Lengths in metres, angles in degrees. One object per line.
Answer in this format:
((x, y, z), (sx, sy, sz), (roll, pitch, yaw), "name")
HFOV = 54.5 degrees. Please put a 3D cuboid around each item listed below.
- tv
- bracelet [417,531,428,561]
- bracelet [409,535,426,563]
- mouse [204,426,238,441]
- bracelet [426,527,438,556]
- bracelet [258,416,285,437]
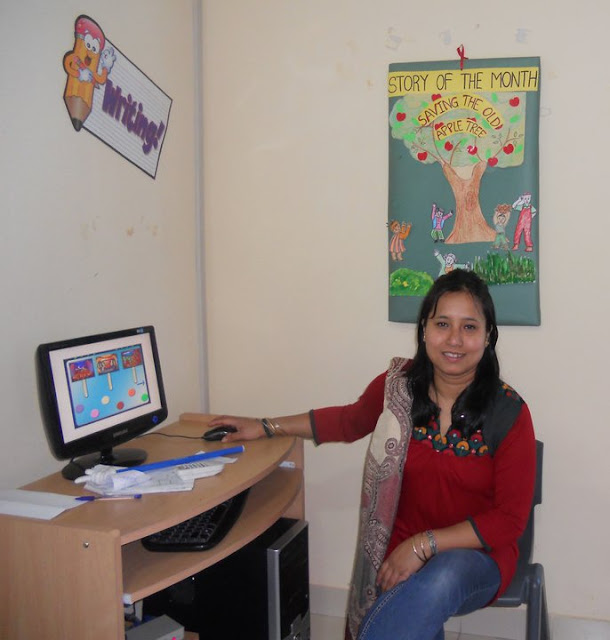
((-0.532, 0.210, 1.571), (0.172, 0.354, 0.363), (-4, 3, 29), "tv")
((0.275, 0.523, 1.358), (0.026, 0.053, 0.024), (0, 3, 4), "bracelet")
((0.262, 0.523, 1.353), (0.038, 0.053, 0.021), (-7, -10, 4), "bracelet")
((-0.263, 0.325, 1.758), (0.072, 0.030, 0.042), (-13, 11, -7), "mouse")
((0.290, 0.509, 1.353), (0.013, 0.038, 0.028), (1, -6, -5), "bracelet")
((-0.106, 0.322, 1.786), (0.059, 0.026, 0.047), (8, 11, -9), "bracelet")
